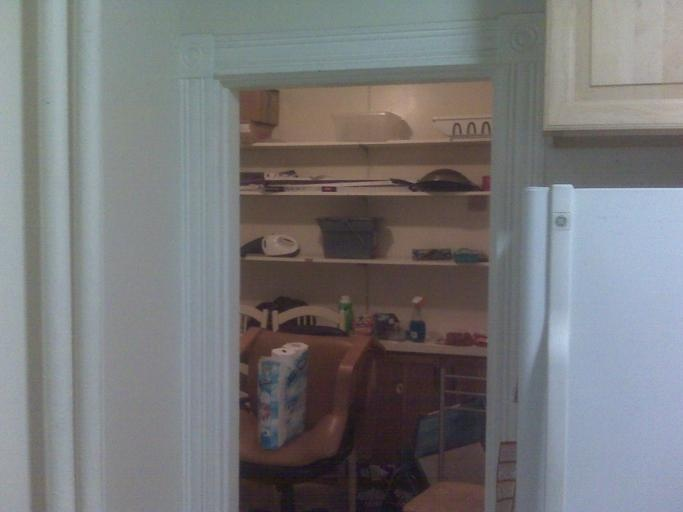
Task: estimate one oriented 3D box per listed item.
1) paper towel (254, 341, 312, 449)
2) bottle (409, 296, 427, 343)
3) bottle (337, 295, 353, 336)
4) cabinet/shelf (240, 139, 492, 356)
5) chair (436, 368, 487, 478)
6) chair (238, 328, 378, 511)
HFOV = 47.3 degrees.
[{"bbox_3d":[-0.228,0.557,3.035,0.146,0.403,0.314,6,14,19],"label":"paper towel"},{"bbox_3d":[0.381,0.309,3.927,0.098,0.212,0.241,0,1,5],"label":"bottle"},{"bbox_3d":[0.019,0.299,3.938,0.086,0.214,0.085,0,24,0],"label":"bottle"},{"bbox_3d":[0.088,-0.069,3.955,1.348,1.044,0.387,1,1,19],"label":"cabinet/shelf"},{"bbox_3d":[0.540,0.755,3.533,0.210,0.512,0.198,0,1,7],"label":"chair"},{"bbox_3d":[-0.146,0.667,3.332,0.656,0.761,0.722,-1,-9,16],"label":"chair"}]
